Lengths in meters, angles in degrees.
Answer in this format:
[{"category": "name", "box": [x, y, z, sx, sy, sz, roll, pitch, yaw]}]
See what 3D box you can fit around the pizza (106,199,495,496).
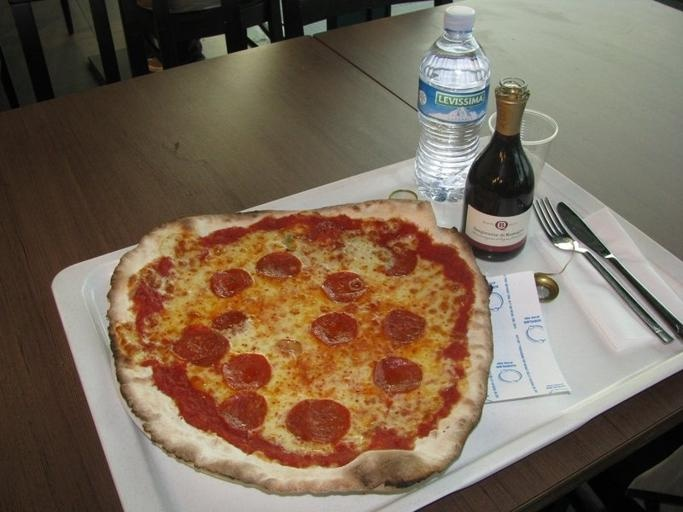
[{"category": "pizza", "box": [-0.060, 0.121, 0.921, 0.675, 0.089, 0.589, -11, 47, -9]}]
